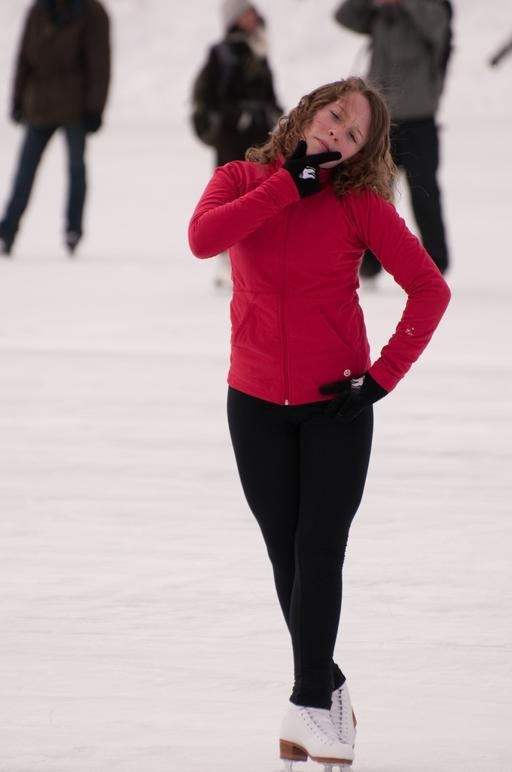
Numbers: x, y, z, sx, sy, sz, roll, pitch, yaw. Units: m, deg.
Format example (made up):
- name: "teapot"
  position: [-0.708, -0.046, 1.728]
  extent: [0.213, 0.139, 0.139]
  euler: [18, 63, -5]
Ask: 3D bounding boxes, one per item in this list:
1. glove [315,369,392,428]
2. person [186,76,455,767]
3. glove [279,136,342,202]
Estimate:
- name: "glove"
  position: [0.197, 0.021, 1.973]
  extent: [0.142, 0.082, 0.050]
  euler: [-13, 31, 9]
- name: "person"
  position: [0.106, 0.063, 2.053]
  extent: [0.619, 1.415, 0.328]
  euler: [18, 18, 35]
- name: "glove"
  position: [0.114, -0.433, 1.932]
  extent: [0.050, 0.094, 0.148]
  euler: [0, 36, 38]
